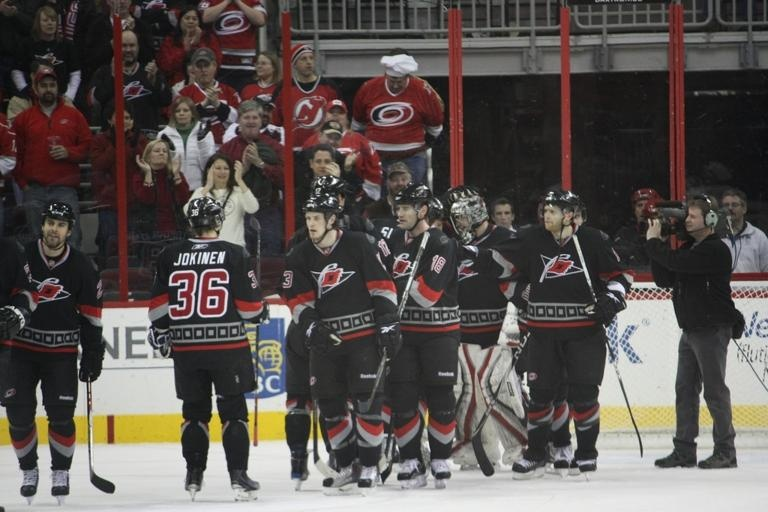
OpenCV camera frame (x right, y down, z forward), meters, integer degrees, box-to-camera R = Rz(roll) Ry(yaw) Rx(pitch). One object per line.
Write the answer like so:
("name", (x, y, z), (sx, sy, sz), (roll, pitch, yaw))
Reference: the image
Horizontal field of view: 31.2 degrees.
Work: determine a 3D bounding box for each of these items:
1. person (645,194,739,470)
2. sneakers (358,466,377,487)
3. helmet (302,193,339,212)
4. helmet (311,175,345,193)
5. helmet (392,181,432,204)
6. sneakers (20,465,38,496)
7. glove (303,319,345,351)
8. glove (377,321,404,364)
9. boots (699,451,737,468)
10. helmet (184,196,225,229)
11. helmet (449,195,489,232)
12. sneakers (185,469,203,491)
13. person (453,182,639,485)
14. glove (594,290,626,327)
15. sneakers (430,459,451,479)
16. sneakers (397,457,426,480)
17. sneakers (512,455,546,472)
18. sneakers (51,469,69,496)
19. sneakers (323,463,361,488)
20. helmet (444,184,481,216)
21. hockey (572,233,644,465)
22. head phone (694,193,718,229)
("person", (2.859, 0.683, 12.637), (0.814, 2.491, 0.443), (-1, 1, 14))
("sneakers", (-0.138, 1.879, 11.733), (0.163, 0.123, 0.115), (-2, 1, -2))
("helmet", (-0.521, -0.471, 11.734), (0.300, 0.105, 0.139), (-2, 1, -3))
("helmet", (-0.495, -0.649, 12.065), (0.253, 0.172, 0.552), (-2, 1, 2))
("helmet", (0.241, -0.586, 12.084), (0.234, 0.218, 0.180), (-12, 9, -17))
("sneakers", (-3.024, 1.937, 11.790), (0.146, 0.207, 0.214), (-2, 1, -17))
("glove", (-0.506, 0.659, 11.646), (0.306, 0.163, 0.145), (-2, 1, 3))
("glove", (0.049, 0.710, 11.669), (0.198, 0.293, 0.223), (-9, -10, 28))
("boots", (3.017, 1.859, 12.585), (0.368, 0.165, 0.136), (1, -4, -3))
("helmet", (-1.533, -0.385, 11.866), (0.243, 0.278, 0.318), (0, 14, 15))
("helmet", (0.747, -0.397, 12.609), (0.349, 0.311, 0.256), (-29, 7, -9))
("sneakers", (-1.607, 1.898, 11.690), (0.148, 0.151, 0.216), (-2, 1, -9))
("person", (1.560, 0.672, 12.245), (1.247, 2.533, 0.361), (-1, 1, 8))
("glove", (1.959, 0.453, 12.141), (0.299, 0.258, 0.241), (-35, 18, -33))
("sneakers", (0.493, 1.862, 12.000), (0.170, 0.198, 0.204), (-2, 1, -6))
("sneakers", (0.237, 1.853, 11.976), (0.122, 0.132, 0.293), (-7, -11, 27))
("sneakers", (1.276, 1.863, 12.280), (0.118, 0.147, 0.339), (-6, -11, 43))
("sneakers", (-2.747, 1.941, 11.740), (0.149, 0.183, 0.198), (-2, 1, -17))
("sneakers", (-0.410, 1.889, 11.839), (0.403, 0.184, 0.142), (-8, 0, 20))
("helmet", (0.710, -0.589, 12.621), (0.283, 0.095, 0.283), (-31, 0, -12))
("hockey", (2.028, 0.885, 12.679), (0.063, 2.231, 0.104), (-6, -12, -28))
("head phone", (2.963, -0.427, 12.719), (0.207, 0.297, 0.357), (-1, 1, 14))
